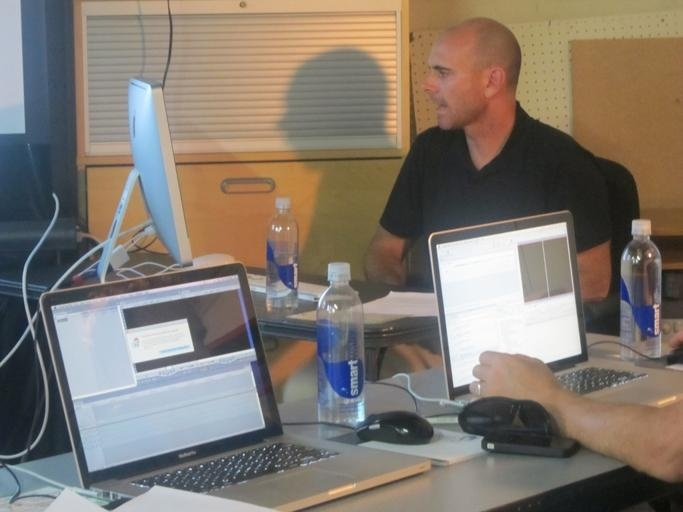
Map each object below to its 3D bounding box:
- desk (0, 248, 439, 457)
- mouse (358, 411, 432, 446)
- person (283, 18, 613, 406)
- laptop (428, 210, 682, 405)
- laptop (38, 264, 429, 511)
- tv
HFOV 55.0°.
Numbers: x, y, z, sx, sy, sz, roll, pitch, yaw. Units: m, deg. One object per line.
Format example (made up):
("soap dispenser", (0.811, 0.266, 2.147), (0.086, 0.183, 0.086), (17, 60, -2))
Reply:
("desk", (-0.318, 0.221, 1.517), (0.403, 0.268, 0.562), (-8, 13, -38))
("mouse", (0.108, 0.338, 1.286), (0.111, 0.043, 0.068), (4, 3, 13))
("person", (0.639, -0.049, 2.889), (1.078, 1.772, 0.826), (5, 7, 32))
("laptop", (0.475, 0.131, 1.400), (0.540, 0.377, 0.415), (-4, 11, -23))
("laptop", (-0.220, 0.142, 1.146), (0.481, 0.351, 0.478), (2, 7, 45))
("tv", (-0.659, -0.235, 2.119), (0.226, 0.587, 0.565), (-9, 27, -17))
